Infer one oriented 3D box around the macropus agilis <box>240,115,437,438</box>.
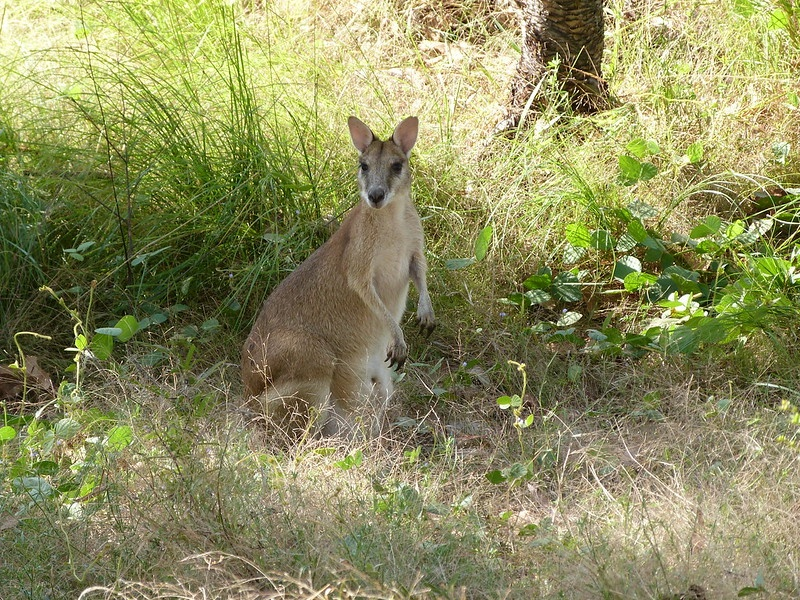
[{"bbox_3d":[-0.336,-0.108,4.636,1.244,1.549,0.738,-24,37,-37],"label":"macropus agilis"}]
